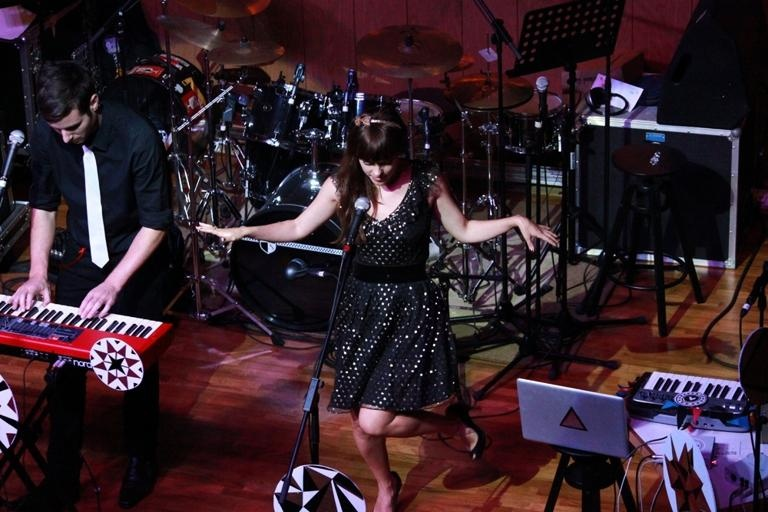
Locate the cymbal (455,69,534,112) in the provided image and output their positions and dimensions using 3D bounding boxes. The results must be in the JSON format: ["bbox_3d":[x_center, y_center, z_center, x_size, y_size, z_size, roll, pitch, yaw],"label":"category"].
[{"bbox_3d":[0.797,-1.219,4.885,0.538,0.128,0.536,-20,41,-22],"label":"cymbal"}]

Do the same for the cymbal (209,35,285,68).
[{"bbox_3d":[-1.075,-1.616,5.268,0.400,0.082,0.398,-23,41,-29],"label":"cymbal"}]

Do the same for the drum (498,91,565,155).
[{"bbox_3d":[1.031,-0.941,4.667,0.495,0.365,0.472,-10,25,5],"label":"drum"}]

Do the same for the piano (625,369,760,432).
[{"bbox_3d":[1.343,0.637,2.955,0.499,0.147,0.326,6,12,21],"label":"piano"}]

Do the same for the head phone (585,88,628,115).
[{"bbox_3d":[1.716,-1.233,5.265,0.329,0.217,0.426,9,14,36],"label":"head phone"}]

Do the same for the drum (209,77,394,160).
[{"bbox_3d":[-0.730,-1.121,5.099,0.857,0.477,0.974,5,18,-27],"label":"drum"}]

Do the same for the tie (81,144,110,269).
[{"bbox_3d":[-1.409,-0.231,3.200,0.080,0.601,0.028,-14,21,-19],"label":"tie"}]

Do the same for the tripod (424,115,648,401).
[{"bbox_3d":[0.904,-0.131,4.719,1.560,1.618,1.670,17,35,32],"label":"tripod"}]
